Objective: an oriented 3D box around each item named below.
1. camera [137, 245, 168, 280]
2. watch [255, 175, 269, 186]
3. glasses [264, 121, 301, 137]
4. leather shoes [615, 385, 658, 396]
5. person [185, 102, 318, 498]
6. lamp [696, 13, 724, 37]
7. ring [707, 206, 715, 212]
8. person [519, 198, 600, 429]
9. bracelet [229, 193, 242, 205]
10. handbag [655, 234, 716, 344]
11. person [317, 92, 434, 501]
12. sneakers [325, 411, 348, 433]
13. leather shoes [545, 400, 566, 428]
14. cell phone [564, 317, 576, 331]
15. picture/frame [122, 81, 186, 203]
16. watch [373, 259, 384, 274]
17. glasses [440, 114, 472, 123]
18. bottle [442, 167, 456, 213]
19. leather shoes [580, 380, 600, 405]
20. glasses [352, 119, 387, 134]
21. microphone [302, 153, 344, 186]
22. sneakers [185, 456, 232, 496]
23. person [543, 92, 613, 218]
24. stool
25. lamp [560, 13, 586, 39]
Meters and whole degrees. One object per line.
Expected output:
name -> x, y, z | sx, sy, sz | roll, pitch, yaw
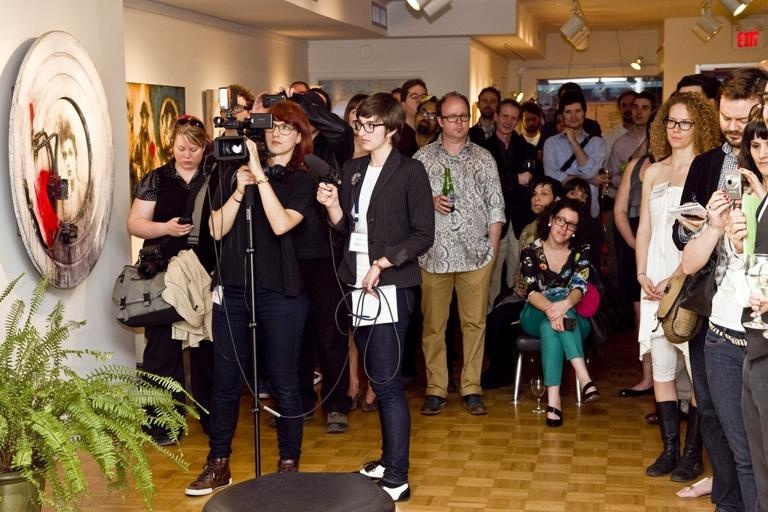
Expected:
camera -> -1.589, 0.052, 3.986 | 0.167, 0.109, 0.234 | -2, 35, 9
watch -> -0.682, -0.413, 3.193 | 0.066, 0.049, 0.079 | -2, 7, -12
glasses -> -0.586, -0.729, 3.326 | 0.193, 0.072, 0.076 | -2, 7, -14
leather shoes -> 2.207, 1.168, 5.053 | 0.304, 0.087, 0.112 | 2, -3, -10
person -> -0.755, 0.271, 3.387 | 0.734, 2.332, 0.489 | -1, 7, -7
lamp -> 5.143, -3.616, 9.108 | 0.310, 0.247, 0.613 | 3, 8, 25
ring -> 1.387, -0.194, 2.438 | 0.011, 0.026, 0.026 | -2, -7, -41
person -> 1.400, 0.416, 4.646 | 0.592, 1.720, 0.708 | 1, 7, 13
bracelet -> -0.862, -0.322, 3.344 | 0.052, 0.042, 0.053 | 7, -8, 33
handbag -> 1.590, 0.245, 2.983 | 0.214, 0.424, 0.377 | 7, -1, 36
person -> -0.018, 0.254, 3.399 | 0.576, 2.354, 0.357 | 2, 7, 18
sneakers -> -0.356, 1.267, 4.399 | 0.106, 0.070, 0.173 | 0, 11, -1
leather shoes -> 1.334, 1.223, 4.503 | 0.136, 0.151, 0.263 | 2, 8, 17
cell phone -> 1.469, 0.545, 4.564 | 0.096, 0.099, 0.024 | 0, 5, 12
picture/frame -> -2.588, -1.338, 6.534 | 1.036, 1.076, 0.020 | 6, 7, 33
watch -> -0.039, 0.066, 3.271 | 0.062, 0.027, 0.055 | 45, -9, -35
glasses -> 0.565, -1.079, 4.594 | 0.205, 0.059, 0.115 | -1, 7, -5
bottle -> 0.509, -0.515, 4.528 | 0.096, 0.344, 0.246 | 0, 7, 5
leather shoes -> 1.654, 1.101, 4.635 | 0.117, 0.155, 0.387 | -8, -12, -2
glasses -> -0.089, -0.738, 3.319 | 0.188, 0.086, 0.087 | 2, 8, 17
microphone -> -0.360, -0.436, 3.151 | 0.296, 0.067, 0.100 | 3, 13, -40
sneakers -> -1.048, 1.325, 3.475 | 0.105, 0.177, 0.295 | -7, -6, 36
person -> 2.108, -0.664, 6.496 | 0.718, 2.189, 0.616 | 2, 8, 23
stool -> 1.369, 0.963, 4.885 | 0.582, 0.621, 0.574 | -12, -18, 41
lamp -> 2.953, -3.563, 8.985 | 0.289, 0.372, 0.452 | 2, 8, 22
